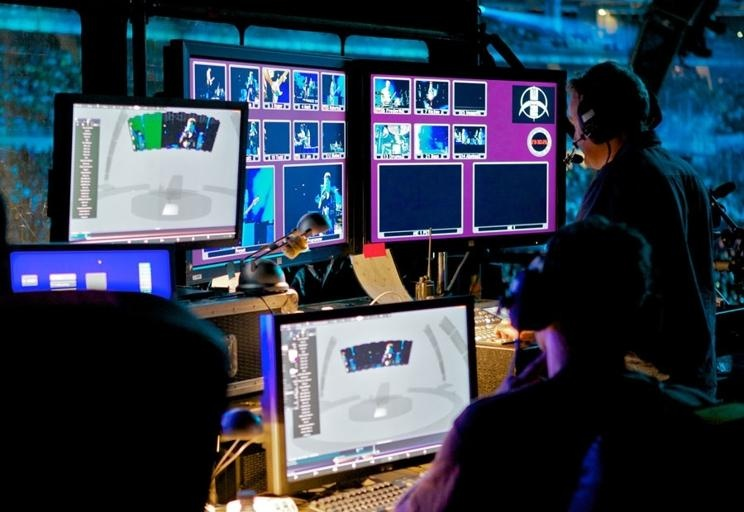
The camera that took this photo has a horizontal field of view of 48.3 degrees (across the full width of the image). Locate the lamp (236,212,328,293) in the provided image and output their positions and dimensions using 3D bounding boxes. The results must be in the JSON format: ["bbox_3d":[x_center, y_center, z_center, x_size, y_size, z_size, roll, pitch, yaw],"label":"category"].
[{"bbox_3d":[-0.297,-0.017,2.512,0.248,0.219,0.382,2,5,24],"label":"lamp"}]

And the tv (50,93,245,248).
[{"bbox_3d":[-0.607,-0.237,2.383,0.593,0.429,0.073,1,-1,17],"label":"tv"}]

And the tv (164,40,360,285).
[{"bbox_3d":[-0.343,-0.329,2.779,0.073,0.709,0.743,3,6,44],"label":"tv"}]

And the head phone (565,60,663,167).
[{"bbox_3d":[0.857,-0.472,2.994,0.268,0.287,0.228,-17,-20,33],"label":"head phone"}]

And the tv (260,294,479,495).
[{"bbox_3d":[-0.027,0.411,2.367,0.569,0.409,0.058,-1,-3,-30],"label":"tv"}]

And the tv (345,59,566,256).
[{"bbox_3d":[0.290,-0.377,3.173,0.774,0.561,0.059,-2,2,-26],"label":"tv"}]

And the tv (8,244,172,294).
[{"bbox_3d":[-0.708,0.039,2.099,0.401,0.142,0.047,-1,4,-12],"label":"tv"}]
